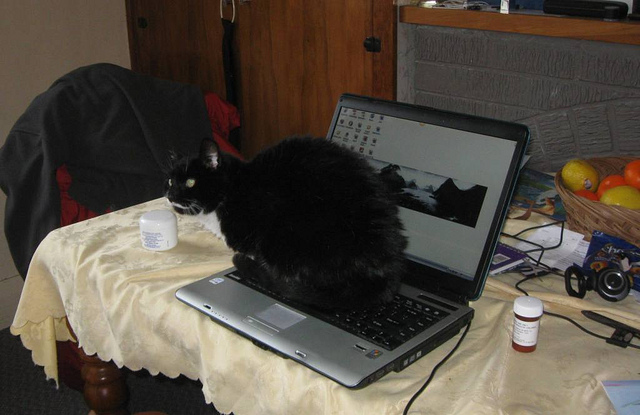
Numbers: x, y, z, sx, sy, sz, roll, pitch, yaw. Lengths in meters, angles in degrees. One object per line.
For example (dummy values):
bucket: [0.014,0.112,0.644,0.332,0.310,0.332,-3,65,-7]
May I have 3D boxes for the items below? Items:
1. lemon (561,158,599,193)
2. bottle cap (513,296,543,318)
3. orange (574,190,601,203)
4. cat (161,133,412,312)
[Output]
lemon: [0.709,-0.094,1.322,0.074,0.072,0.094,-2,26,-5]
bottle cap: [0.419,0.198,0.956,0.051,0.024,0.057,13,27,16]
orange: [0.707,-0.033,1.253,0.044,0.024,0.037,2,24,1]
cat: [-0.035,0.040,1.158,0.549,0.311,0.294,15,5,13]
